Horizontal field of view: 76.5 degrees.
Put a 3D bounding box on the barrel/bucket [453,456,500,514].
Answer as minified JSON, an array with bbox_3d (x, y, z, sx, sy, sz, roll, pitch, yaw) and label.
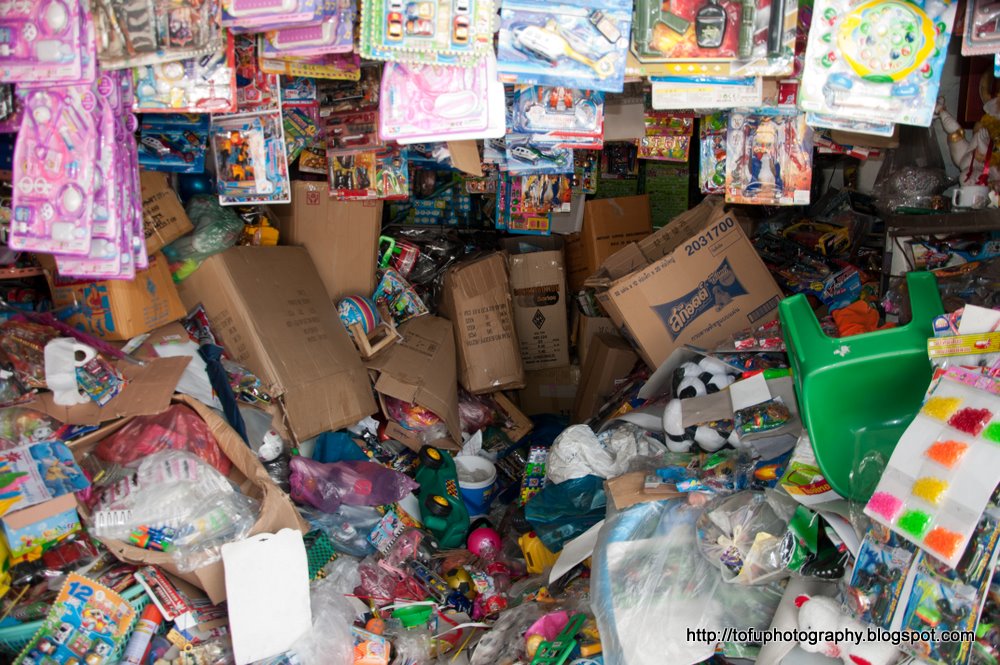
[{"bbox_3d":[-0.131,0.780,3.378,0.258,0.250,0.264,0,16,0],"label":"barrel/bucket"}]

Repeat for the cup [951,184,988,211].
[{"bbox_3d":[1.936,-0.552,2.625,0.111,0.081,0.040,-9,-1,12],"label":"cup"}]

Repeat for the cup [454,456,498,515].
[{"bbox_3d":[-0.138,0.770,3.416,0.265,0.255,0.264,0,18,0],"label":"cup"}]
